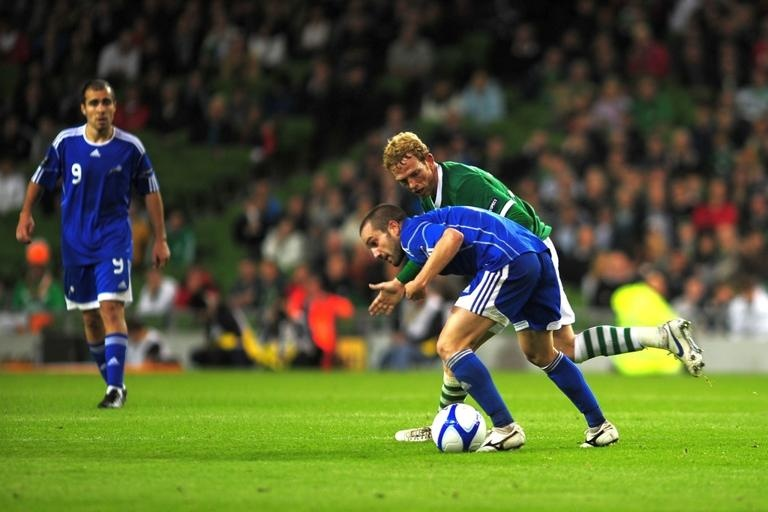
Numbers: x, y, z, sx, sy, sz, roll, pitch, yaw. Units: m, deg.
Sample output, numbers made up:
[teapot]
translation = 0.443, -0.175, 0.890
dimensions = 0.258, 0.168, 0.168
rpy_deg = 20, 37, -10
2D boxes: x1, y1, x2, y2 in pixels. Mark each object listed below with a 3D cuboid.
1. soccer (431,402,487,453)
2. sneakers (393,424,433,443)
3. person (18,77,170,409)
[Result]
[soccer]
translation = 0.668, 1.568, 8.662
dimensions = 0.429, 0.457, 0.426
rpy_deg = -7, -3, 7
[sneakers]
translation = 0.270, 1.737, 9.227
dimensions = 0.385, 0.144, 0.162
rpy_deg = -2, -45, -5
[person]
translation = -3.158, -0.108, 10.575
dimensions = 1.427, 3.560, 0.778
rpy_deg = -4, -5, 16
